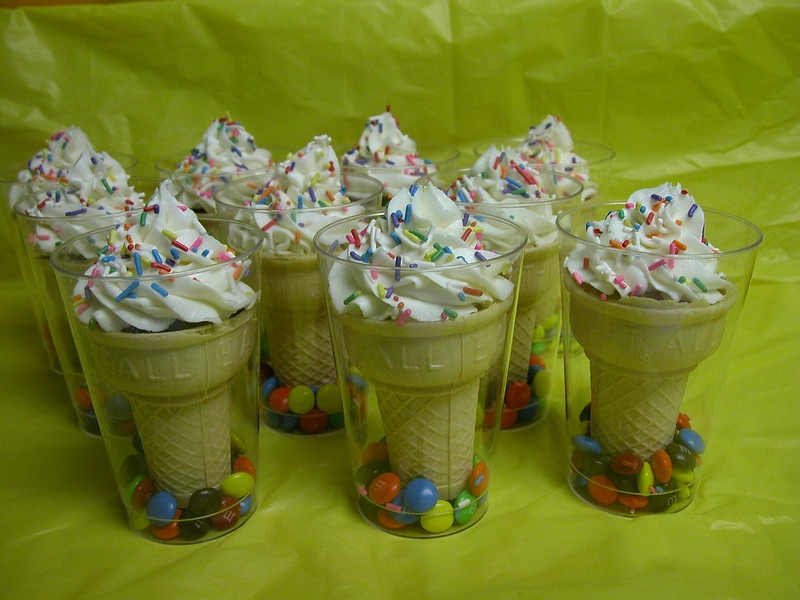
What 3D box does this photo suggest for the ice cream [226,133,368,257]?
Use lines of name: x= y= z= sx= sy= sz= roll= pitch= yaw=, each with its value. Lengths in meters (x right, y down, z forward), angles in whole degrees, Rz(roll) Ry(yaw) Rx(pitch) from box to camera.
ice cream: x=-0.392 y=-0.366 z=2.689 sx=0.493 sy=0.318 sz=0.482 roll=-1 pitch=18 yaw=-1

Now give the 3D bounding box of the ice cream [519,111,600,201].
ice cream: x=0.675 y=-0.641 z=3.283 sx=0.333 sy=0.311 sz=0.361 roll=4 pitch=16 yaw=36

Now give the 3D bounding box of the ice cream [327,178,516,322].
ice cream: x=0.047 y=-0.156 z=2.150 sx=0.443 sy=0.245 sz=0.472 roll=-12 pitch=18 yaw=-43

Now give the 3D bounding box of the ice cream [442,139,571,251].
ice cream: x=0.408 y=-0.323 z=2.675 sx=0.426 sy=0.227 sz=0.414 roll=7 pitch=21 yaw=-8

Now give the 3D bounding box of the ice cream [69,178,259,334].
ice cream: x=-0.690 y=-0.105 z=2.169 sx=0.447 sy=0.288 sz=0.426 roll=15 pitch=24 yaw=34

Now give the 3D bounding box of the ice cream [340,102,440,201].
ice cream: x=-0.061 y=-0.620 z=3.209 sx=0.434 sy=0.404 sz=0.437 roll=0 pitch=35 yaw=-6
